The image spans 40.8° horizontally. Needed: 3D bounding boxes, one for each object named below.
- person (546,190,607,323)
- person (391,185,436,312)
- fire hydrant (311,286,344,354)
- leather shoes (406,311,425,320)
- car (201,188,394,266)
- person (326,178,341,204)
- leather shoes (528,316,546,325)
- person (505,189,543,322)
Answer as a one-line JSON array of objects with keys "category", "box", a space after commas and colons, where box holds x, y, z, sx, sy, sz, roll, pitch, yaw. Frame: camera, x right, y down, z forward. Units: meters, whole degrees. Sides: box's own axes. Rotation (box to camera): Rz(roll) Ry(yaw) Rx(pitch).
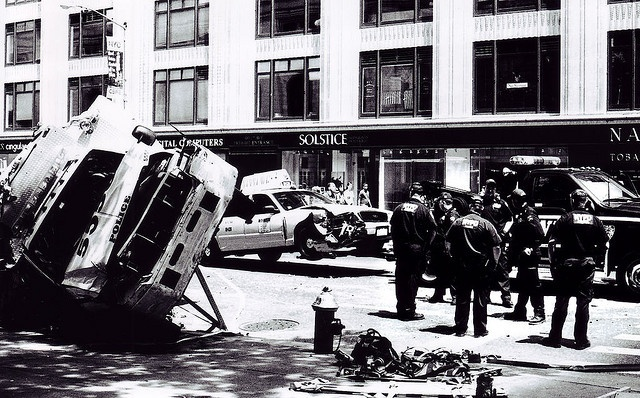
[{"category": "person", "box": [5.140, 1.386, 17.176, 1.142, 3.117, 0.592, -2, -4, 15]}, {"category": "person", "box": [2.093, 1.212, 19.302, 0.923, 2.912, 0.603, -1, -4, -11]}, {"category": "fire hydrant", "box": [0.130, 2.312, 16.388, 0.588, 1.275, 0.328, -1, -3, 0]}, {"category": "leather shoes", "box": [2.103, 2.574, 18.974, 0.375, 0.145, 0.153, -2, -1, -1]}, {"category": "car", "box": [-0.828, 0.925, 25.024, 4.467, 1.383, 2.404, -7, -6, 32]}, {"category": "person", "box": [0.569, -0.259, 31.914, 0.235, 0.754, 0.554, 2, -31, -29]}, {"category": "leather shoes", "box": [4.733, 2.643, 18.738, 0.411, 0.163, 0.144, 3, -5, -33]}, {"category": "person", "box": [4.563, 1.431, 19.012, 0.829, 2.569, 0.600, -2, -4, 16]}]
